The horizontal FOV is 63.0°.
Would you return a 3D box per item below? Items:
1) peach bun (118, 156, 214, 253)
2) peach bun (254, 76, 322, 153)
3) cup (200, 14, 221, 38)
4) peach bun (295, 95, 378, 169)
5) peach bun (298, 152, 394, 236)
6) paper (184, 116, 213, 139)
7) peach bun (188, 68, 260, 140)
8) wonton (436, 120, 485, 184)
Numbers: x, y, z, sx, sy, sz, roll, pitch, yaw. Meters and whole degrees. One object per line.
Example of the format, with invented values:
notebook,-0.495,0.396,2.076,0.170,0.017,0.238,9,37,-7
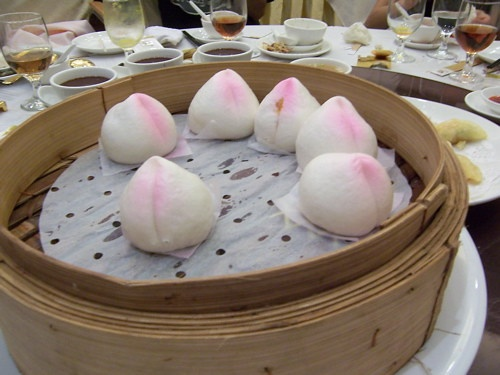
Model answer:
peach bun,-0.191,0.034,0.968,0.223,0.197,0.208,-7,24,-17
peach bun,0.067,-0.230,1.189,0.208,0.191,0.179,-8,23,-24
cup,-0.198,-0.778,2.034,0.108,0.091,0.117,0,61,0
peach bun,0.202,-0.152,1.061,0.175,0.174,0.174,-15,27,-22
peach bun,0.190,-0.010,0.939,0.180,0.176,0.212,-5,25,-24
paper,-0.152,-0.176,1.183,0.059,0.024,0.056,0,37,2
peach bun,-0.082,-0.275,1.235,0.233,0.177,0.242,21,31,27
wonton,0.641,-0.171,1.251,0.138,0.033,0.178,-27,25,8
